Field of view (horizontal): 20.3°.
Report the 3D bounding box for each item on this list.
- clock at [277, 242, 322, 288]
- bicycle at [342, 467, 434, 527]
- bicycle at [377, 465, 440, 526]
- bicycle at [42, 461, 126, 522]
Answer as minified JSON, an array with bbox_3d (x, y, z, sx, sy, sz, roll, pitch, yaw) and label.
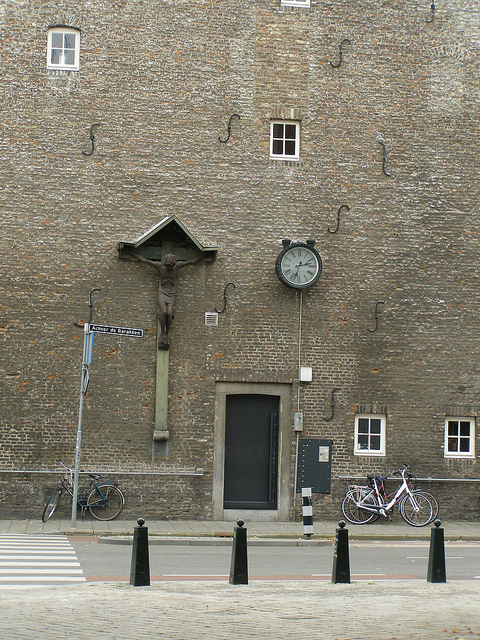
[{"bbox_3d":[1.106,-1.110,26.261,0.964,0.996,0.188,1,-2,-12],"label":"clock"},{"bbox_3d":[2.811,3.412,25.935,1.797,1.069,0.724,-1,-5,21],"label":"bicycle"},{"bbox_3d":[2.953,3.477,26.314,1.859,1.099,0.728,-3,-10,30],"label":"bicycle"},{"bbox_3d":[-3.089,3.316,25.130,1.729,1.093,0.744,3,-12,-14],"label":"bicycle"}]
